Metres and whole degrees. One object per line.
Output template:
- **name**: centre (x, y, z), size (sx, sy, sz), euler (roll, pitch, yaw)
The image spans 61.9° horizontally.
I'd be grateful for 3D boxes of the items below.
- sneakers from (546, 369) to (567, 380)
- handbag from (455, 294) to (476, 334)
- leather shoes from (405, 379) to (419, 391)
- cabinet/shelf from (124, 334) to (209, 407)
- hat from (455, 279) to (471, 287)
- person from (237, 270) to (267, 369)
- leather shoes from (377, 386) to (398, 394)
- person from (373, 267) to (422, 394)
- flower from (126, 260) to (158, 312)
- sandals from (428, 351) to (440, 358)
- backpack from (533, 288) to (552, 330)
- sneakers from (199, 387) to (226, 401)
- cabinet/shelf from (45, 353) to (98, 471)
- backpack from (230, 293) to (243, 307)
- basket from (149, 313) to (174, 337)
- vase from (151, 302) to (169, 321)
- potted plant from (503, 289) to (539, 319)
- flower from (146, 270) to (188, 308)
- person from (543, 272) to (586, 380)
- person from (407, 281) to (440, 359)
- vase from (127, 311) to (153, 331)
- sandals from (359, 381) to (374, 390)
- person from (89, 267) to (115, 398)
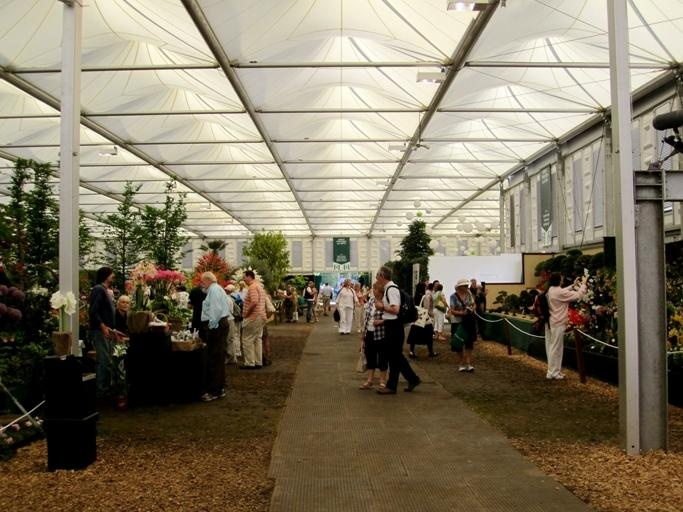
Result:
- **sneakers**: centre (4.245, 2.329, 11.209), size (0.486, 0.196, 0.164), euler (-3, 0, -3)
- **handbag**: centre (2.631, 1.256, 12.162), size (0.406, 0.926, 0.573), euler (-10, 41, 14)
- **leather shoes**: centre (1.284, 2.323, 10.265), size (0.250, 0.105, 0.085), euler (-44, -10, -23)
- **cabinet/shelf**: centre (-2.900, 1.930, 9.639), size (1.136, 1.119, 1.121), euler (3, -11, -8)
- **hat**: centre (3.314, 0.736, 15.570), size (0.398, 0.139, 0.418), euler (-1, -17, -10)
- **person**: centre (-1.921, 1.409, 12.541), size (0.530, 1.792, 0.756), euler (-2, -1, -11)
- **leather shoes**: centre (0.806, 2.331, 9.949), size (0.320, 0.135, 0.129), euler (2, -6, 3)
- **person**: centre (0.965, 1.305, 9.967), size (0.988, 2.179, 0.775), euler (2, -8, 1)
- **flower**: centre (-4.006, 0.564, 11.495), size (0.606, 0.733, 0.942), euler (-2, -1, -19)
- **sandals**: centre (2.385, 2.546, 14.740), size (0.327, 0.115, 0.139), euler (-14, -21, 42)
- **backpack**: centre (3.920, 1.096, 11.181), size (0.242, 0.667, 0.494), euler (3, 2, 11)
- **sneakers**: centre (-2.152, 2.331, 9.626), size (0.397, 0.169, 0.142), euler (10, -13, -40)
- **cabinet/shelf**: centre (-3.000, 1.720, 6.344), size (0.508, 0.870, 0.376), euler (-2, -1, -28)
- **backpack**: centre (-2.586, 1.079, 14.174), size (0.237, 0.296, 0.279), euler (-5, 32, 7)
- **basket**: centre (-3.120, 1.202, 9.875), size (0.396, 0.517, 0.539), euler (1, -14, -4)
- **vase**: centre (-3.592, 1.103, 11.271), size (0.367, 0.395, 0.410), euler (0, -7, -45)
- **potted plant**: centre (5.831, 1.527, 18.592), size (1.287, 1.106, 1.619), euler (-1, -3, -4)
- **flower**: centre (-3.624, 0.659, 11.753), size (0.674, 0.736, 0.665), euler (5, -9, -35)
- **person**: centre (4.316, 1.369, 11.061), size (0.731, 2.134, 0.521), euler (-3, -1, 19)
- **person**: centre (1.955, 1.580, 14.001), size (0.666, 2.020, 0.545), euler (4, 23, 23)
- **vase**: centre (-3.311, 1.080, 9.372), size (0.385, 0.273, 0.270), euler (-2, -1, -18)
- **sandals**: centre (0.464, 2.355, 10.392), size (0.269, 0.114, 0.099), euler (2, -10, -2)
- **person**: centre (-3.847, 1.198, 9.193), size (0.368, 1.482, 0.518), euler (-2, -1, -24)
